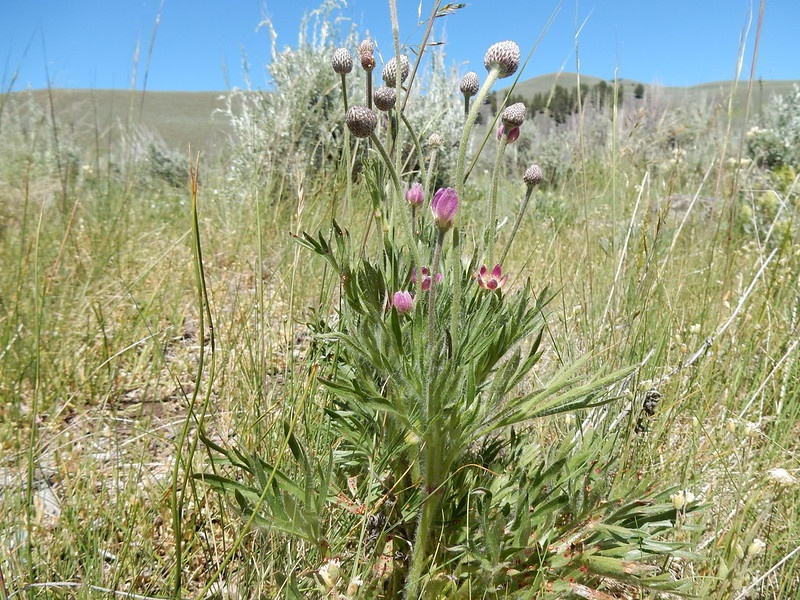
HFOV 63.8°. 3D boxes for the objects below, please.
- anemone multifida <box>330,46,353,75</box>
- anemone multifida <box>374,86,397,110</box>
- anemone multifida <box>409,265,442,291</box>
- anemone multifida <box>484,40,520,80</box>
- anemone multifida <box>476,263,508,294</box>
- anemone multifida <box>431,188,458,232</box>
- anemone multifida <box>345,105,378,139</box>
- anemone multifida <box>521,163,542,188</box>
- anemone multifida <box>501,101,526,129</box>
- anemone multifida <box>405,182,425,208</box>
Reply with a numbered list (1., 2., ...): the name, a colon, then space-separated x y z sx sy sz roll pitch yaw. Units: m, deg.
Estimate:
1. anemone multifida: -0.209 -0.877 2.356 0.068 0.109 0.228 3 15 -5
2. anemone multifida: -0.051 -0.678 2.147 0.057 0.086 0.075 1 3 11
3. anemone multifida: 0.076 -0.070 2.084 0.065 0.070 0.084 12 -7 4
4. anemone multifida: 0.329 -0.758 2.017 0.081 0.108 0.110 -5 17 -36
5. anemone multifida: 0.302 -0.071 2.105 0.088 0.108 0.125 7 14 11
6. anemone multifida: 0.136 -0.268 1.885 0.092 0.127 0.086 0 13 -19
7. anemone multifida: -0.121 -0.547 1.963 0.087 0.089 0.128 3 14 -8
8. anemone multifida: 0.463 -0.442 2.294 0.067 0.093 0.085 -3 6 -44
9. anemone multifida: 0.372 -0.616 2.119 0.057 0.079 0.086 3 22 -4
10. anemone multifida: 0.052 -0.361 2.208 0.062 0.092 0.104 5 14 2
